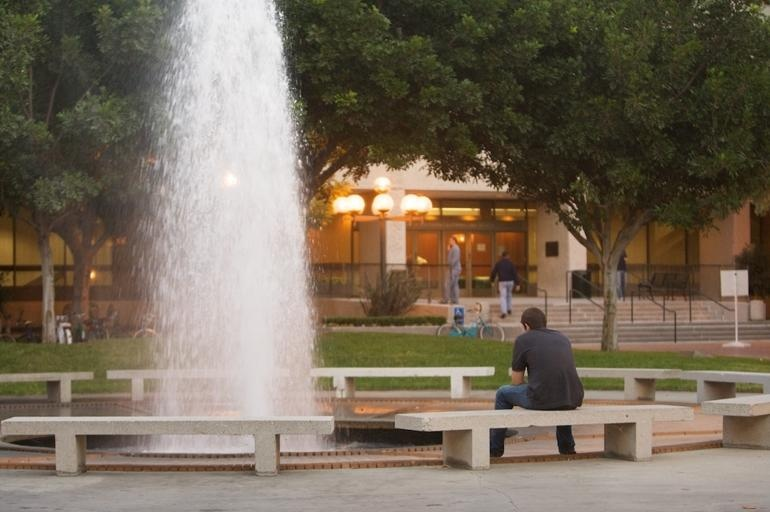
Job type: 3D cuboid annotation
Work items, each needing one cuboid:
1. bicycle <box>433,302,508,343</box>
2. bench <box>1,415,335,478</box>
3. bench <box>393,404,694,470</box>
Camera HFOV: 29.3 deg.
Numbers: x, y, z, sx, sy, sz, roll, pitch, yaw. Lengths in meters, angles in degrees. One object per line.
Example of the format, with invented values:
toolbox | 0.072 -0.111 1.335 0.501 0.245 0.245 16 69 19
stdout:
bicycle | 2.796 2.167 48.442 2.225 1.320 1.103 -2 -7 0
bench | -4.652 3.983 31.034 6.629 1.285 0.434 -2 -4 2
bench | 3.417 3.861 31.452 5.969 1.242 0.715 -1 -4 -9
